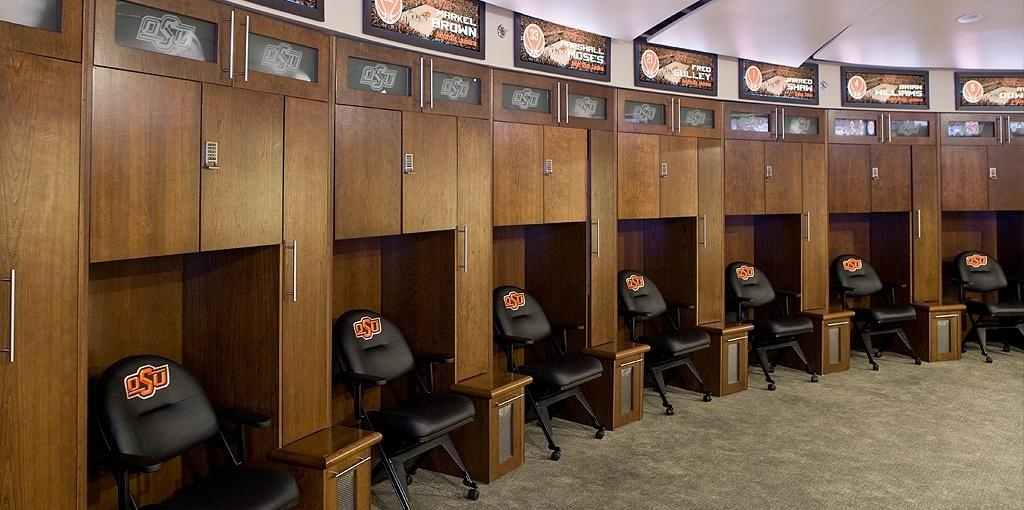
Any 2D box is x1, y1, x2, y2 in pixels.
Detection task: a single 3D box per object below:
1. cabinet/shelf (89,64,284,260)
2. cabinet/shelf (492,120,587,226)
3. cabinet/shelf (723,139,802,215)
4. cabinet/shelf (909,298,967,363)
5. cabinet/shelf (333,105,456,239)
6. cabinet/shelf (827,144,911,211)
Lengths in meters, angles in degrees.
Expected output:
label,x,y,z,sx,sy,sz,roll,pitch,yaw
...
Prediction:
label,x,y,z,sx,sy,sz,roll,pitch,yaw
cabinet/shelf,-2.743,-0.805,5.453,1.939,1.576,0.711,-1,6,-38
cabinet/shelf,0.264,-0.939,7.323,1.385,1.017,0.492,-2,6,-32
cabinet/shelf,3.329,-1.084,8.912,1.212,0.850,0.426,-2,7,-20
cabinet/shelf,6.207,1.099,9.635,0.649,0.851,0.310,-7,3,-10
cabinet/shelf,-1.187,-0.843,6.420,1.539,1.202,0.571,-2,6,-39
cabinet/shelf,5.085,-1.151,9.514,1.173,0.812,0.414,0,-2,-20
